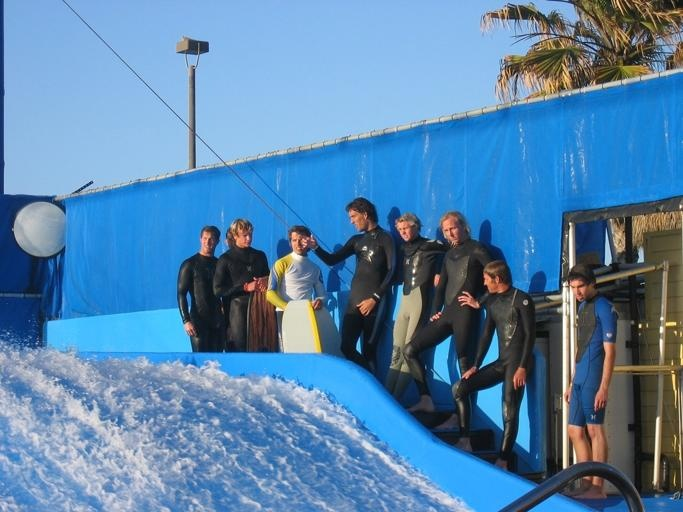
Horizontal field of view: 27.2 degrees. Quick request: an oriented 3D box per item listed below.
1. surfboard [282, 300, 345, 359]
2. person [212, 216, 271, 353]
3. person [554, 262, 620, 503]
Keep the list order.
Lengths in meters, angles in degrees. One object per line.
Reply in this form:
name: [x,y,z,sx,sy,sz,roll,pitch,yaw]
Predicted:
surfboard: [-0.368,0.879,16.929,0.698,0.709,0.358,-6,-3,-1]
person: [-1.229,0.395,17.690,0.723,1.653,0.458,-5,-3,-6]
person: [2.714,1.337,15.347,0.613,1.809,0.578,-5,-3,7]
